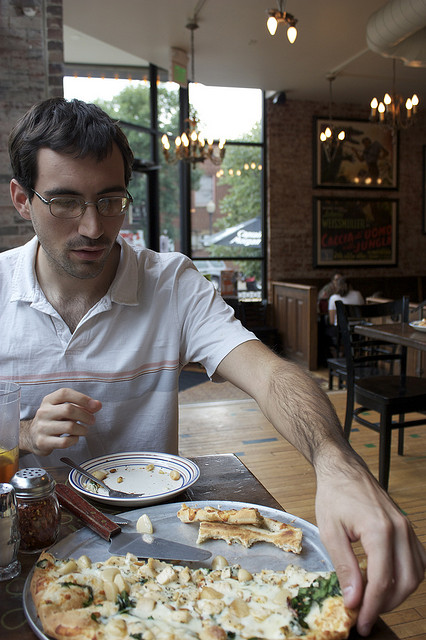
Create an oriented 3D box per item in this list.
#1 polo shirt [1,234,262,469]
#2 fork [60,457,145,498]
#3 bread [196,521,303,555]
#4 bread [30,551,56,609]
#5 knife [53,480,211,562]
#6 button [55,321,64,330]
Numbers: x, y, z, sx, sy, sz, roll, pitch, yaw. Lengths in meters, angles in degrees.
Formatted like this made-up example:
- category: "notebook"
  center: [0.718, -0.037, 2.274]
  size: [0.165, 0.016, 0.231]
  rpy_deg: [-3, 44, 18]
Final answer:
- category: "polo shirt"
  center: [-0.216, 0.076, 1.269]
  size: [0.637, 0.530, 0.303]
  rpy_deg: [2, 4, 5]
- category: "fork"
  center: [-0.184, 0.264, 0.857]
  size: [0.177, 0.035, 0.060]
  rpy_deg: [4, 4, 43]
- category: "bread"
  center: [0.052, 0.296, 0.697]
  size: [0.093, 0.015, 0.053]
  rpy_deg: [4, 2, -6]
- category: "bread"
  center: [-0.192, 0.293, 0.589]
  size: [0.028, 0.085, 0.013]
  rpy_deg: [7, 26, -21]
- category: "knife"
  center: [-0.122, 0.257, 0.698]
  size: [0.272, 0.021, 0.074]
  rpy_deg: [8, 16, 41]
- category: "button"
  center: [-0.353, 0.014, 1.178]
  size: [0.018, 0.017, 0.004]
  rpy_deg: [-7, 8, 15]
